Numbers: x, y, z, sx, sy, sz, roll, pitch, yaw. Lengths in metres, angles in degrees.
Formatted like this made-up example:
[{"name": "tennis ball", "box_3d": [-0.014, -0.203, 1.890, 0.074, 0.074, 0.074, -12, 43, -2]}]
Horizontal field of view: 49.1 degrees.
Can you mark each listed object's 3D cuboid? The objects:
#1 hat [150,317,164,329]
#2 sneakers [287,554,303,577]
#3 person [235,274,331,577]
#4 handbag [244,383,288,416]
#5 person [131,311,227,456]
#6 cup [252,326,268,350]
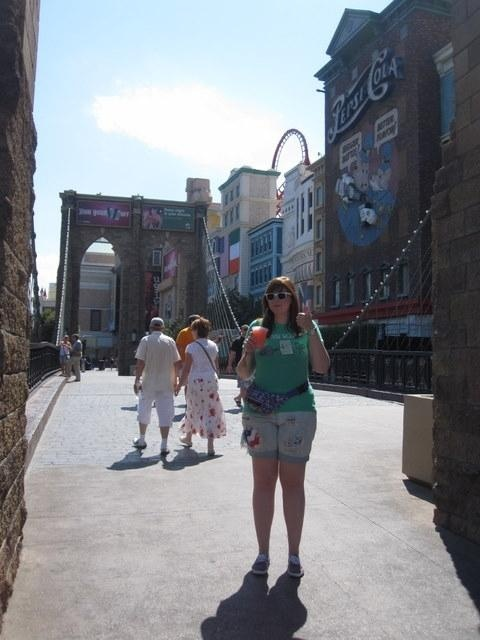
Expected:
[{"name": "hat", "box_3d": [-1.159, 0.042, 7.357, 0.148, 0.181, 0.308, 6, 3, -7]}, {"name": "sneakers", "box_3d": [0.302, 1.316, 2.815, 0.086, 0.099, 0.106, 0, -3, 5]}, {"name": "person", "box_3d": [0.243, 0.562, 2.955, 0.505, 1.652, 0.336, 0, -2, 0]}, {"name": "handbag", "box_3d": [0.118, 0.432, 2.873, 0.281, 0.152, 0.097, -3, -4, 38]}, {"name": "person", "box_3d": [-0.810, 0.854, 7.126, 1.225, 1.797, 0.898, 0, -3, 4]}, {"name": "cup", "box_3d": [0.115, 0.101, 2.848, 0.070, 0.122, 0.092, 0, -9, 0]}]
